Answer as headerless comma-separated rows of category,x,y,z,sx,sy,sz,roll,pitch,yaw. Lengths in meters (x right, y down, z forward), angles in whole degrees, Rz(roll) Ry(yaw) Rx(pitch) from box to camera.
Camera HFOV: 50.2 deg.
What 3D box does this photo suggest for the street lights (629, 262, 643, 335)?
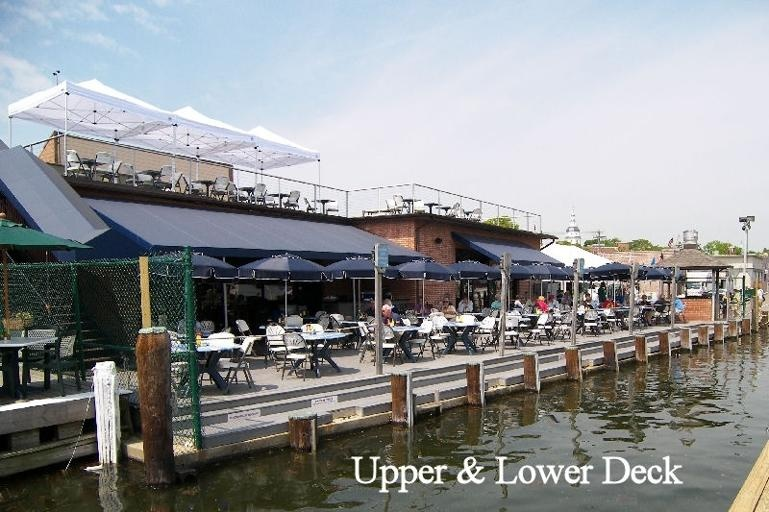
street lights,10.504,1.756,34.320,0.420,4.317,0.864,-4,28,10
